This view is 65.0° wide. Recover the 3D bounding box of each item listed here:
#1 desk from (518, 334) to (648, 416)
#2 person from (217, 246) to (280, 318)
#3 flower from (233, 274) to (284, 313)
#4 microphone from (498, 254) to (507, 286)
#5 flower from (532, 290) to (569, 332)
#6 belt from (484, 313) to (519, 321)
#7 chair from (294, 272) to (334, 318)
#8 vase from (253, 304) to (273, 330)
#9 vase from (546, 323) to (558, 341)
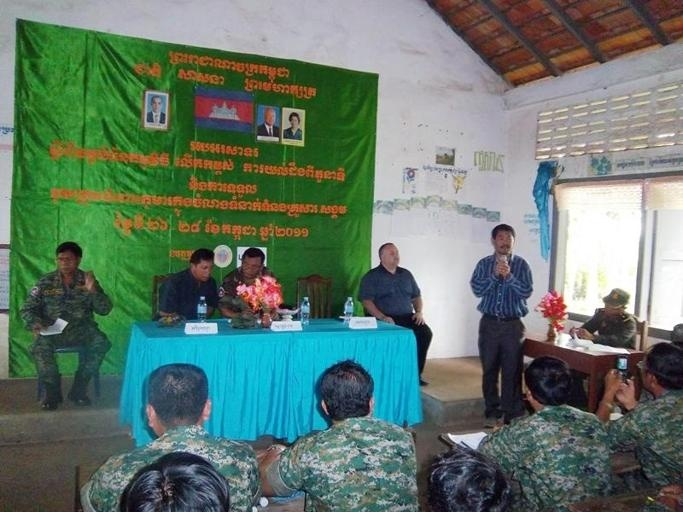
[{"bbox_3d":[1.865,0.930,4.168,0.469,0.587,0.863,-5,8,-27],"label":"desk"},{"bbox_3d":[-0.950,0.322,5.336,0.594,0.796,0.481,-4,16,-41],"label":"person"},{"bbox_3d":[-0.793,0.345,4.771,0.428,0.322,0.458,-14,-13,39],"label":"flower"},{"bbox_3d":[1.523,0.126,5.062,0.071,0.314,0.088,2,-42,14],"label":"microphone"},{"bbox_3d":[2.115,0.559,5.376,0.227,0.307,0.286,1,0,19],"label":"flower"},{"bbox_3d":[1.532,0.594,5.191,0.318,0.051,0.084,1,-1,18],"label":"belt"},{"bbox_3d":[-0.319,0.454,6.410,0.421,0.798,0.469,1,-6,-7],"label":"chair"},{"bbox_3d":[-0.673,0.534,4.710,0.177,0.258,0.150,0,-3,40],"label":"vase"},{"bbox_3d":[2.089,0.765,5.400,0.111,0.166,0.149,-2,5,-42],"label":"vase"}]
